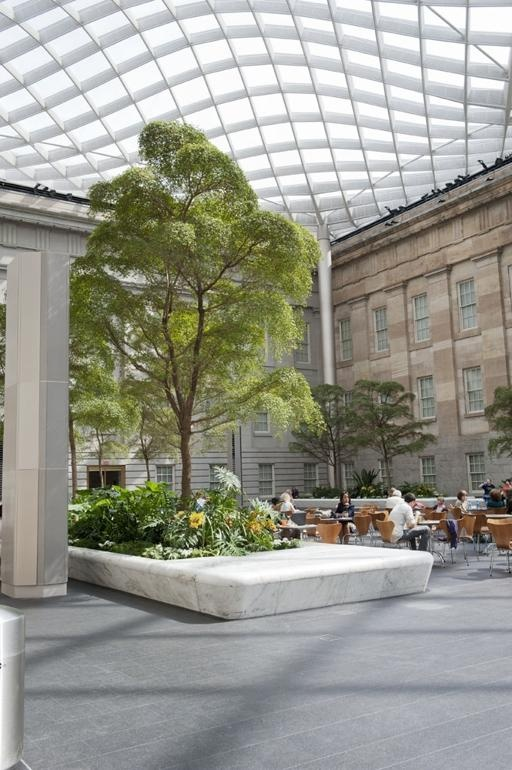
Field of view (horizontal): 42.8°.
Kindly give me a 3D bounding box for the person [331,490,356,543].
[{"bbox_3d":[2.193,3.317,16.299,0.469,1.215,0.708,1,1,18],"label":"person"}]
